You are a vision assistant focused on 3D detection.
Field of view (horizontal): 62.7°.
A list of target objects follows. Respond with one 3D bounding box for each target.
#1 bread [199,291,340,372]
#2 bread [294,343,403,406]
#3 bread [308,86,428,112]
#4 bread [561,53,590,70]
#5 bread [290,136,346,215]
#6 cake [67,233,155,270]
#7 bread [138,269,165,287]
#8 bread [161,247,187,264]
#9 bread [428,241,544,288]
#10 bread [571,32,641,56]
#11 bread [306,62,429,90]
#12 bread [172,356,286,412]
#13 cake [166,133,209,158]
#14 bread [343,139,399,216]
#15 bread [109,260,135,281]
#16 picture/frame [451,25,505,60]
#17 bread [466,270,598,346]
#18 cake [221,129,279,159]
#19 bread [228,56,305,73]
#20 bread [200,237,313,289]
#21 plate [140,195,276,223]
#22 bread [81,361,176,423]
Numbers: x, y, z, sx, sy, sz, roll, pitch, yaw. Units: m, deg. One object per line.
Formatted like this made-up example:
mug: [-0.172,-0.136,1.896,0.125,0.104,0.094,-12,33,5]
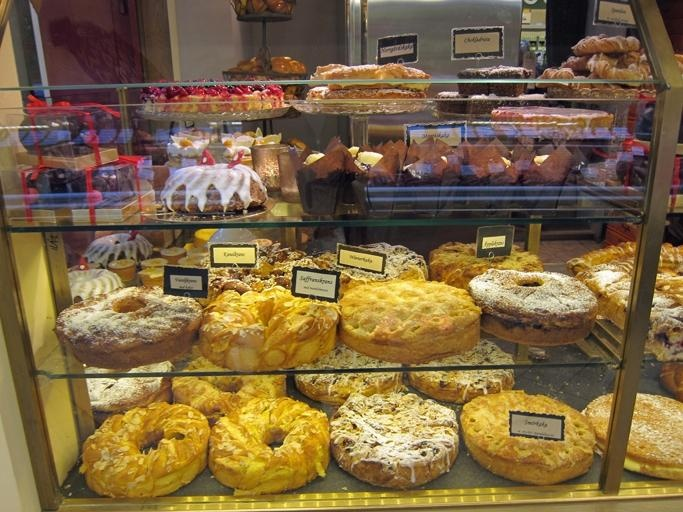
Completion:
bread: [-0.257,0.267,2.099,0.520,0.227,0.310,-3,20,-1]
bread: [0.028,0.476,2.333,0.407,0.071,0.374,-9,16,-31]
bread: [0.099,-0.584,2.078,0.442,0.110,0.246,-1,19,4]
bread: [0.943,-0.776,2.243,0.087,0.027,0.076,2,33,34]
bread: [-0.080,-0.275,1.967,0.321,0.229,0.265,-2,13,-6]
cake: [-0.971,-0.030,2.440,0.218,0.049,0.214,12,19,39]
bread: [-0.805,0.091,2.395,0.115,0.041,0.103,0,6,-2]
bread: [-0.731,-0.011,2.449,0.103,0.037,0.087,3,11,13]
bread: [0.626,0.024,2.446,0.336,0.064,0.280,-1,13,1]
bread: [1.016,-0.811,2.144,0.162,0.039,0.145,-9,15,-28]
bread: [0.100,-0.633,1.969,0.421,0.101,0.335,0,18,7]
bread: [-0.485,0.570,2.380,0.398,0.096,0.362,-6,16,-33]
cake: [-0.607,-0.439,2.212,0.147,0.060,0.125,4,11,9]
bread: [0.133,-0.305,2.072,0.220,0.238,0.348,-1,20,6]
bread: [-0.929,0.054,2.423,0.113,0.053,0.113,12,15,41]
picture/frame: [0.551,-0.853,2.230,0.264,0.121,0.012,-13,27,-22]
bread: [0.706,0.180,2.106,0.435,0.110,0.361,-6,19,-15]
cake: [-0.382,-0.475,2.331,0.193,0.053,0.181,0,8,8]
bread: [-0.330,-0.881,2.581,0.233,0.050,0.204,-5,13,-27]
bread: [-0.317,0.051,2.358,0.332,0.071,0.269,-2,17,-12]
plate: [-0.457,-0.158,1.961,0.455,0.047,0.165,-5,18,-8]
bread: [-0.870,0.532,2.240,0.426,0.087,0.342,1,15,1]
